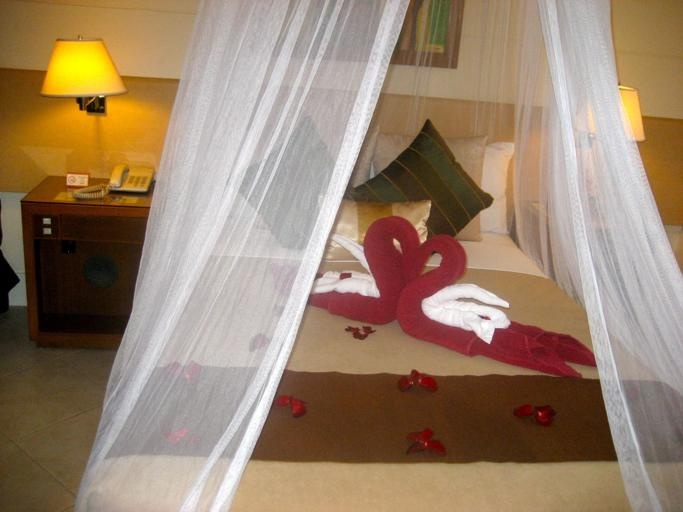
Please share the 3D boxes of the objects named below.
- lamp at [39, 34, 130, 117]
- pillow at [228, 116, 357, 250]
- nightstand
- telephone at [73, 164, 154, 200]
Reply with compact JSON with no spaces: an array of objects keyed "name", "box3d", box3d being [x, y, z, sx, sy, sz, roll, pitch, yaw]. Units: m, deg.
[{"name":"lamp","box3d":[-1.370,-0.935,2.862,0.389,0.419,0.386,-10,34,-34]},{"name":"pillow","box3d":[-0.145,-0.207,1.578,0.225,0.327,0.197,10,15,23]},{"name":"nightstand","box3d":[-1.315,0.067,2.993,0.685,0.725,0.382,1,14,-21]},{"name":"telephone","box3d":[-1.227,-0.391,2.942,0.245,0.087,0.273,1,19,-1]}]
